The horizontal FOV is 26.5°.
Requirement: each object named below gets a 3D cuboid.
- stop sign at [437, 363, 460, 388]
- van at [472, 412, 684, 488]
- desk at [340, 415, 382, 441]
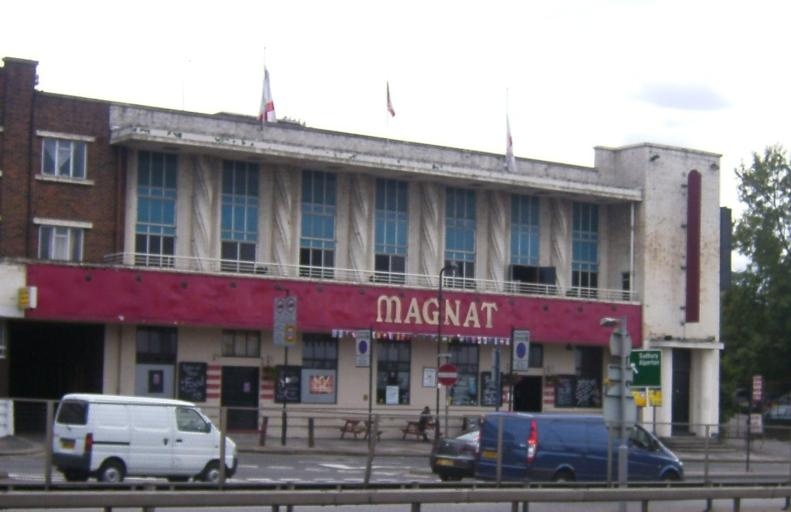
[{"bbox_3d":[2.624,5.702,82.776,0.855,1.026,1.049,0,-8,-4],"label":"stop sign"},{"bbox_3d":[7.775,8.482,72.297,7.428,2.959,3.718,0,-4,-18],"label":"van"},{"bbox_3d":[-1.730,7.291,71.680,1.032,1.059,4.763,0,-9,-4],"label":"desk"}]
